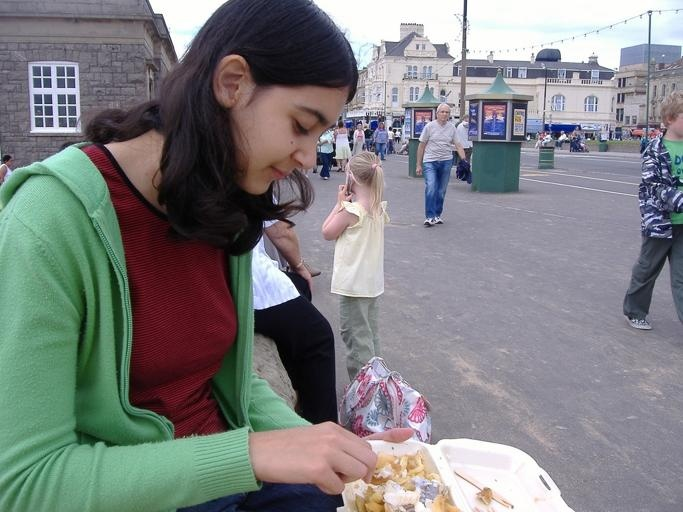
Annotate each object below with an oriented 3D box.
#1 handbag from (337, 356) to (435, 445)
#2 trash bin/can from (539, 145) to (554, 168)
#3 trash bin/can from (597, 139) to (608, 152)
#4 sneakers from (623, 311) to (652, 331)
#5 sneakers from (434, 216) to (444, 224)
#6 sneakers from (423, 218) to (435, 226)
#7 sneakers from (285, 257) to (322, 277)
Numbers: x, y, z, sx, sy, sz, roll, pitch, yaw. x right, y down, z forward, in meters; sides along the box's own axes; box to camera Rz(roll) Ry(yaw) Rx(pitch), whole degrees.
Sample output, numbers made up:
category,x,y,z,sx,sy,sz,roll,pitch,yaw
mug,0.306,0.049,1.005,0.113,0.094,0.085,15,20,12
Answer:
category,x,y,z,sx,sy,sz,roll,pitch,yaw
handbag,0.320,0.719,3.326,0.491,0.605,0.805,-2,-4,20
trash bin/can,11.280,-5.366,27.343,0.760,1.182,1.049,7,16,23
trash bin/can,29.289,-12.237,55.728,0.805,1.224,1.689,8,16,26
sneakers,3.149,0.701,5.315,0.121,0.151,0.338,-1,1,5
sneakers,2.163,-0.780,11.185,0.128,0.140,0.315,-1,-2,7
sneakers,1.898,-0.715,10.902,0.098,0.137,0.305,-1,0,28
sneakers,-0.477,0.202,6.711,0.516,0.243,0.182,5,38,10
